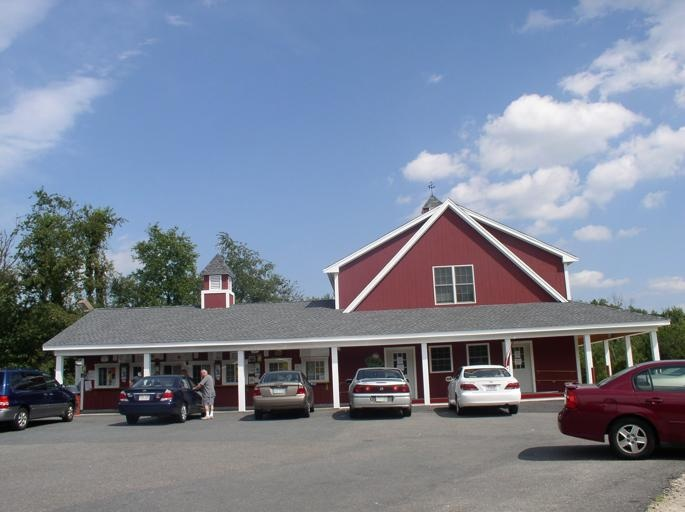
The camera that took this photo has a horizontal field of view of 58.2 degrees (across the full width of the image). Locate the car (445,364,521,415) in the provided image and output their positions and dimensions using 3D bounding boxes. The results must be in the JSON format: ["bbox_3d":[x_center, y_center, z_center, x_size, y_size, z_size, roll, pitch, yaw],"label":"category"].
[{"bbox_3d":[4.600,4.590,20.890,1.901,1.635,2.290,0,-8,-18],"label":"car"}]

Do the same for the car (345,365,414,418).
[{"bbox_3d":[1.190,4.638,20.588,1.992,1.621,1.643,-2,-7,0],"label":"car"}]

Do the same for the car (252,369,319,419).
[{"bbox_3d":[-2.084,4.897,21.419,1.933,1.647,1.680,-1,-7,-9],"label":"car"}]

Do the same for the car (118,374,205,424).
[{"bbox_3d":[-6.431,5.127,21.931,1.900,1.598,2.439,-3,-7,12],"label":"car"}]
